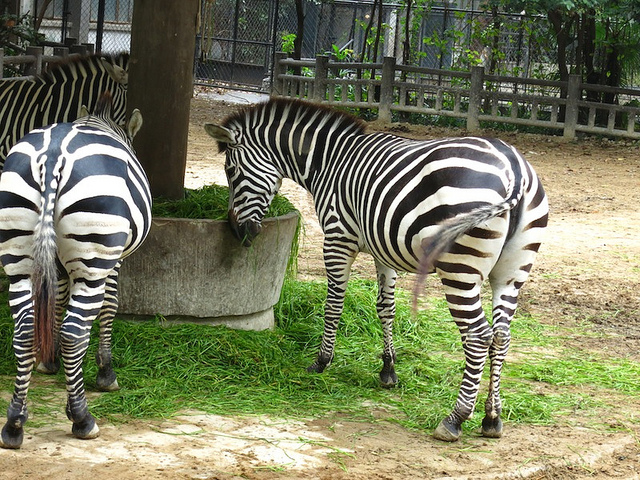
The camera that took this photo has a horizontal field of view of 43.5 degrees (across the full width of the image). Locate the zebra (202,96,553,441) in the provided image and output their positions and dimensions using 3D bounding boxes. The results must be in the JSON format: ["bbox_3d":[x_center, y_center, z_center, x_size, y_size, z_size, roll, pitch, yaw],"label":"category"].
[{"bbox_3d":[0.357,0.021,5.914,1.078,2.031,3.478,0,10,-39],"label":"zebra"}]

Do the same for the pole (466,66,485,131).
[{"bbox_3d":[3.242,-2.886,16.226,0.314,1.455,0.365,-7,-11,45],"label":"pole"}]

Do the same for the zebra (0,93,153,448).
[{"bbox_3d":[-1.449,0.235,4.720,0.805,1.793,0.565,1,8,-17],"label":"zebra"}]

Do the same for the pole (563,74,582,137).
[{"bbox_3d":[5.011,-2.668,15.777,0.259,1.230,0.610,6,8,16],"label":"pole"}]

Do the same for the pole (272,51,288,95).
[{"bbox_3d":[-0.955,-3.809,18.154,0.322,1.075,0.281,-8,17,-11],"label":"pole"}]
